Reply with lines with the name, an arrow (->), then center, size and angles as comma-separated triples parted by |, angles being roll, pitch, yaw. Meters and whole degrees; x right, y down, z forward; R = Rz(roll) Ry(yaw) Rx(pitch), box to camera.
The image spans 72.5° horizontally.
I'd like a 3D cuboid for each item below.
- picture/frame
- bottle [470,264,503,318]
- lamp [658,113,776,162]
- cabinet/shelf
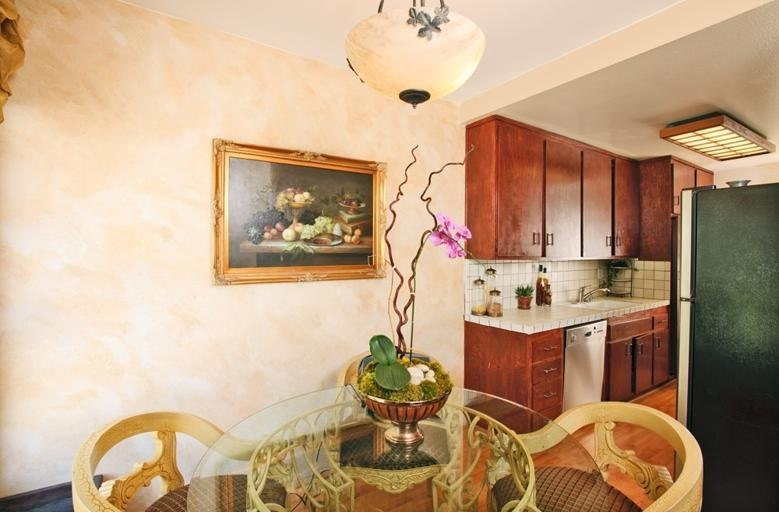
picture/frame -> -0.705, -0.320, 3.867 | 1.232, 0.851, 0.055 | 1, -2, -30
bottle -> 0.848, 0.341, 4.699 | 0.262, 0.355, 0.188 | 0, 5, 7
lamp -> 2.950, -1.049, 4.745 | 1.201, 0.248, 0.492 | -3, 5, -37
cabinet/shelf -> 1.662, 0.118, 4.570 | 2.906, 2.518, 0.952 | 1, -2, -43
